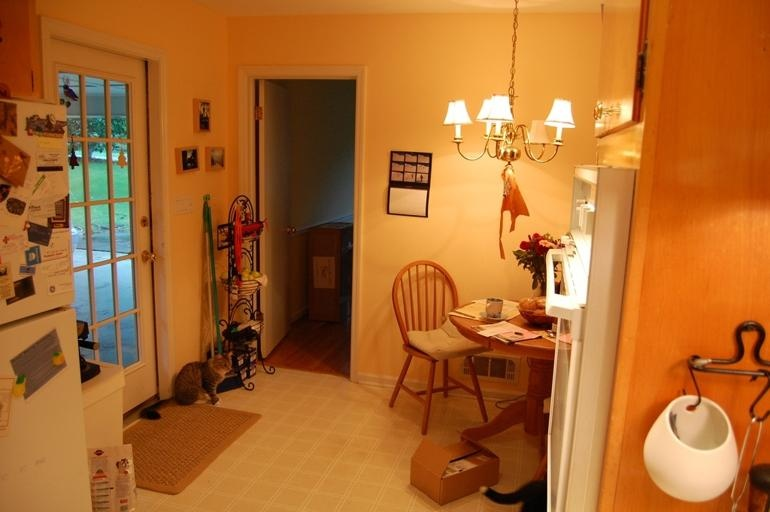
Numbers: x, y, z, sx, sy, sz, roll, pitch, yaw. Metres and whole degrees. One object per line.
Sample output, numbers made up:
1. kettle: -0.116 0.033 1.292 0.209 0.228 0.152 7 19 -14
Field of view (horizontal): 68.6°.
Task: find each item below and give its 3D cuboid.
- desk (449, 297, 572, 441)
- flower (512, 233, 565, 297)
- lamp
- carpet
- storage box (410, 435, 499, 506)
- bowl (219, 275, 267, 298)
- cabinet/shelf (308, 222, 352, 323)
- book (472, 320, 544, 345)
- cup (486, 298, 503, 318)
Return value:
1. desk: 0.888 0.814 3.592 0.813 0.592 0.790 -6 17 -15
2. flower: 0.911 0.032 3.374 0.331 0.343 0.283 -16 24 -30
3. lamp: 0.775 -0.771 3.654 0.871 1.752 1.076 2 14 18
4. carpet: -1.365 1.202 3.654 0.628 0.024 0.765 14 32 16
5. storage box: 0.401 1.234 3.347 0.488 0.284 0.290 -8 14 -24
6. bowl: -1.065 0.196 4.346 0.213 0.087 0.216 1 10 0
7. cabinet/shelf: -0.586 0.175 5.817 0.300 0.762 0.870 1 16 2
8. book: 0.742 0.462 3.393 0.359 0.031 0.291 8 16 36
9. cup: 0.712 0.344 3.667 0.107 0.130 0.114 5 10 -1
